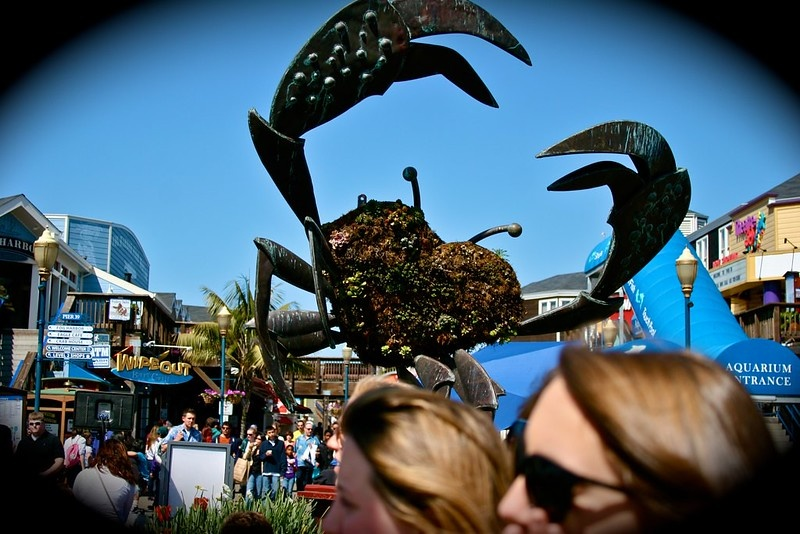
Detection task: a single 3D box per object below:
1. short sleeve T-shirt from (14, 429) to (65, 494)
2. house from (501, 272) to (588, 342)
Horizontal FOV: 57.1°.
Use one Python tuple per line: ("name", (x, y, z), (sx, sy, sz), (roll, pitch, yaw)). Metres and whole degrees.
("short sleeve T-shirt", (-4.710, 2.519, 9.548), (0.604, 0.776, 0.288), (3, 2, -14))
("house", (9.169, 2.197, 42.101), (5.280, 3.791, 5.397), (-2, -9, 23))
